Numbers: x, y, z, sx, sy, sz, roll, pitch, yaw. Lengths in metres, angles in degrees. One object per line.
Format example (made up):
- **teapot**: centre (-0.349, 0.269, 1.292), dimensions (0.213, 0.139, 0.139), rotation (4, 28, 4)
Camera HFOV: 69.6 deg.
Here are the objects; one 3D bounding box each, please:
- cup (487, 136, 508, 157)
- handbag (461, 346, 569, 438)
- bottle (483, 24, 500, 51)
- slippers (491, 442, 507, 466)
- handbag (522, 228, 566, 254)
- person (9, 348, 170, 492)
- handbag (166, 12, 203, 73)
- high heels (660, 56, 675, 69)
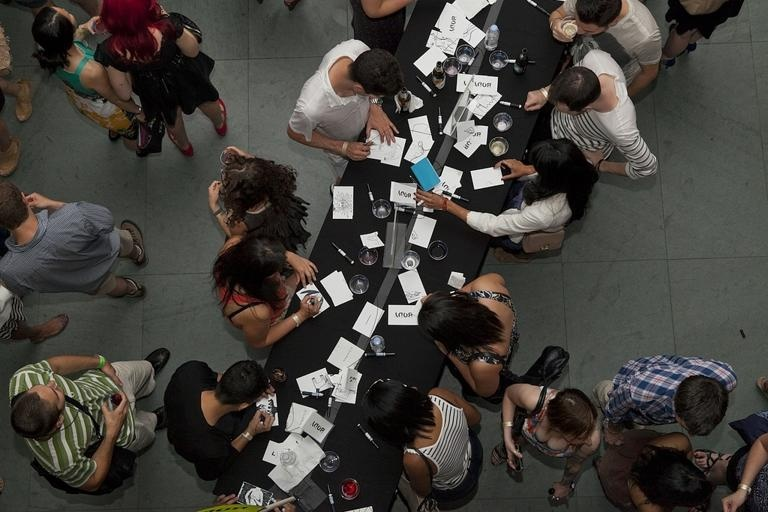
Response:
- **cup**: centre (1.106, -1.063, 5.295), dimensions (0.169, 0.095, 0.178), rotation (0, 87, 4)
- **handbag**: centre (1.339, 1.141, 5.400), dimensions (1.015, 0.297, 0.542), rotation (-23, 51, -2)
- **bottle**: centre (1.062, -2.152, 5.432), dimensions (0.131, 0.210, 0.131), rotation (-1, 75, 2)
- **slippers**: centre (1.190, 2.059, 5.716), dimensions (0.163, 0.260, 0.270), rotation (4, 96, 10)
- **handbag**: centre (1.567, -0.167, 5.459), dimensions (0.267, 0.252, 0.124), rotation (-11, 65, 1)
- **person**: centre (-2.750, 1.607, 5.200), dimensions (0.450, 1.581, 0.677), rotation (-38, 95, 14)
- **handbag**: centre (-1.918, -2.172, 5.393), dimensions (0.206, 0.551, 0.355), rotation (-11, 74, -4)
- **high heels**: centre (3.262, -2.233, 6.344), dimensions (0.159, 0.089, 0.105), rotation (24, 40, 33)
